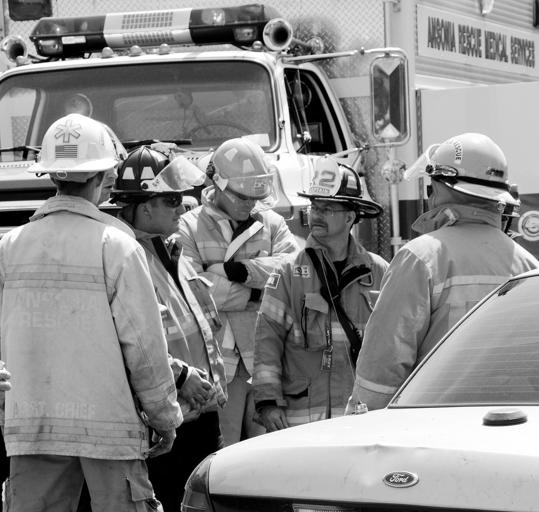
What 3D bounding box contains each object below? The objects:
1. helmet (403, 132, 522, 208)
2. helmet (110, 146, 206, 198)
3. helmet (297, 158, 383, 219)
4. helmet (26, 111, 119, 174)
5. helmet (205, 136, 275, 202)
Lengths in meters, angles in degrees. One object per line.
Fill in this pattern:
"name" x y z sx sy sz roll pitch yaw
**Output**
"helmet" 0.810 -0.409 5.438 0.411 0.220 0.320 25 14 37
"helmet" -0.543 -0.387 5.914 0.332 0.198 0.244 3 5 9
"helmet" 0.378 -0.259 6.463 0.348 0.157 0.346 23 -1 -20
"helmet" -0.803 -0.478 5.381 0.245 0.175 0.316 0 5 6
"helmet" -0.125 -0.468 6.893 0.359 0.243 0.277 39 30 30
